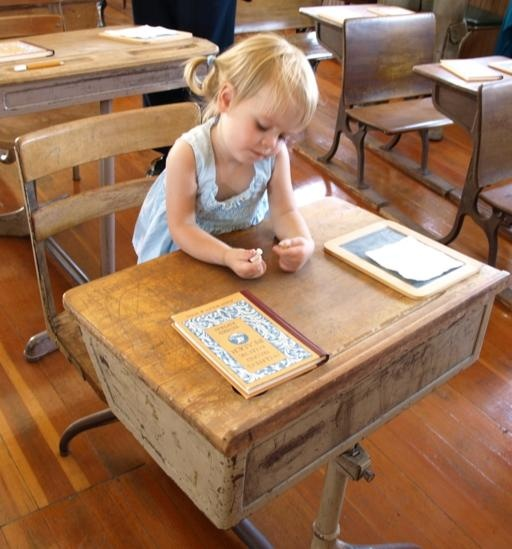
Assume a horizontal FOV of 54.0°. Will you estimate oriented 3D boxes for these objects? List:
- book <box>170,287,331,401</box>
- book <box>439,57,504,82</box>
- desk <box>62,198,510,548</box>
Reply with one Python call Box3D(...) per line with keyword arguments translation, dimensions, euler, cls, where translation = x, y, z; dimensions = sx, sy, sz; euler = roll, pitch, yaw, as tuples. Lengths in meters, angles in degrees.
Box3D(translation=(-0.014, 0.093, 0.710), dimensions=(0.138, 0.017, 0.178), euler=(-21, 41, -31), cls="book")
Box3D(translation=(1.071, -1.039, 2.540), dimensions=(0.181, 0.034, 0.250), euler=(-12, 36, -17), cls="book")
Box3D(translation=(0.029, 0.159, 1.031), dimensions=(0.640, 0.588, 0.530), euler=(-24, 51, -25), cls="desk")
